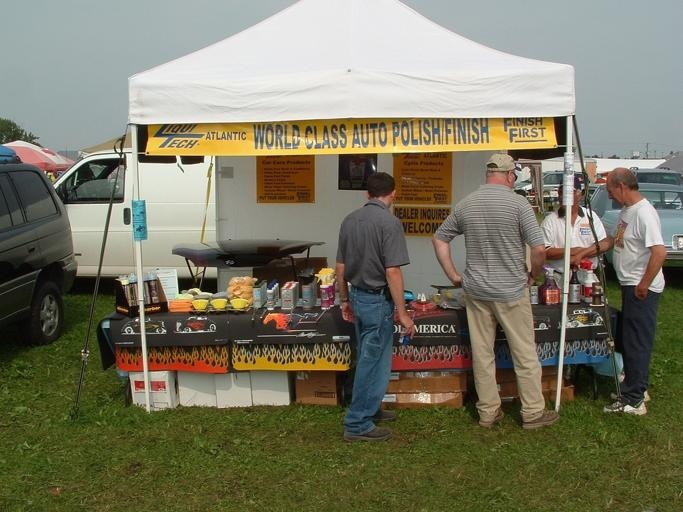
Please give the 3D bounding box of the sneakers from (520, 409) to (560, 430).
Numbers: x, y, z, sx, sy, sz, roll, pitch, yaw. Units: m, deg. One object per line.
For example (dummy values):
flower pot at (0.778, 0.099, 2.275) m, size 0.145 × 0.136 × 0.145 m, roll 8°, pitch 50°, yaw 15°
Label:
sneakers at (1.772, 1.441, 5.727) m, size 0.337 × 0.168 × 0.137 m, roll -8°, pitch 11°, yaw -15°

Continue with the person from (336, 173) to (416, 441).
person at (0.278, 0.426, 5.467) m, size 0.633 × 2.199 × 0.533 m, roll -2°, pitch 14°, yaw -2°

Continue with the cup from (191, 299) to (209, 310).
cup at (-1.319, 0.442, 5.965) m, size 0.104 × 0.068 × 0.104 m, roll 0°, pitch 8°, yaw 0°

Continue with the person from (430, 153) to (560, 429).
person at (1.356, 0.447, 5.554) m, size 1.048 × 2.083 × 0.381 m, roll 4°, pitch 15°, yaw 20°

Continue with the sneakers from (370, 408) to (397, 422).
sneakers at (0.381, 1.440, 5.852) m, size 0.226 × 0.112 × 0.097 m, roll -3°, pitch 1°, yaw -1°

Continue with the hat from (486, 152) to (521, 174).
hat at (1.434, -0.822, 5.638) m, size 0.196 × 0.138 × 0.313 m, roll 7°, pitch 10°, yaw 29°

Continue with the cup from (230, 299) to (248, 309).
cup at (-0.952, 0.436, 5.926) m, size 0.102 × 0.049 × 0.100 m, roll 1°, pitch 3°, yaw 0°

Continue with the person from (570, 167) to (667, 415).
person at (2.648, 0.326, 5.836) m, size 0.486 × 2.168 × 0.605 m, roll 1°, pitch 15°, yaw 10°

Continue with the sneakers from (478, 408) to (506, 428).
sneakers at (1.326, 1.423, 5.700) m, size 0.099 × 0.121 × 0.270 m, roll 11°, pitch 20°, yaw 38°

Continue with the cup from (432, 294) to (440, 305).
cup at (0.905, 0.405, 6.144) m, size 0.067 × 0.091 × 0.072 m, roll 1°, pitch -1°, yaw 0°

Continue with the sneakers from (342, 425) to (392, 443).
sneakers at (0.240, 1.514, 5.578) m, size 0.380 × 0.176 × 0.152 m, roll -2°, pitch -2°, yaw 0°

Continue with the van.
van at (-3.044, -0.662, 9.879) m, size 2.733 × 1.675 × 1.695 m, roll 0°, pitch 3°, yaw -3°
